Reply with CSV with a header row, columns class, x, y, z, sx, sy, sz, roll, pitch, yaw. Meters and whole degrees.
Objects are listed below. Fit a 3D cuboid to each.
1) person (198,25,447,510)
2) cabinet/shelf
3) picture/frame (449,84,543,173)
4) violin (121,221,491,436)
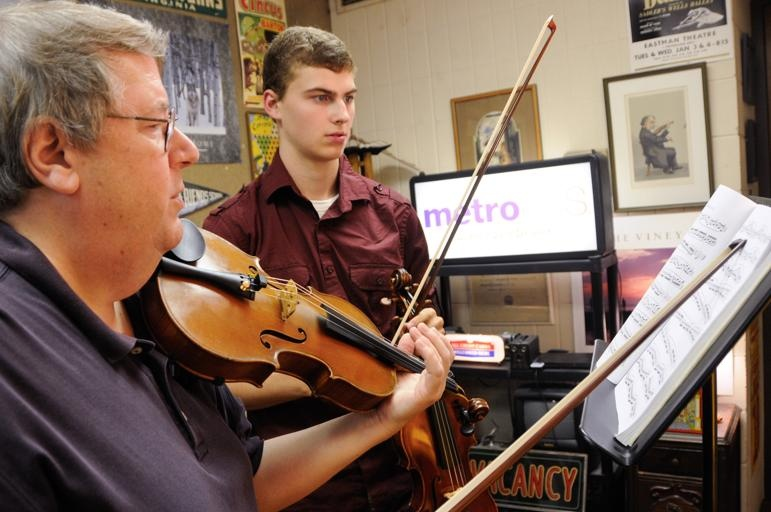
class,x,y,z,sx,sy,sz,roll,pitch,yaw
person,-0.228,-0.078,2.305,0.666,1.759,0.352,7,-19,-39
cabinet/shelf,0.747,0.489,2.549,1.903,0.215,0.098,-41,-23,-26
picture/frame,0.628,-0.642,3.854,0.496,0.619,0.039,-6,-19,12
violin,-0.251,0.222,1.778,0.167,0.311,0.819,-36,-34,15
